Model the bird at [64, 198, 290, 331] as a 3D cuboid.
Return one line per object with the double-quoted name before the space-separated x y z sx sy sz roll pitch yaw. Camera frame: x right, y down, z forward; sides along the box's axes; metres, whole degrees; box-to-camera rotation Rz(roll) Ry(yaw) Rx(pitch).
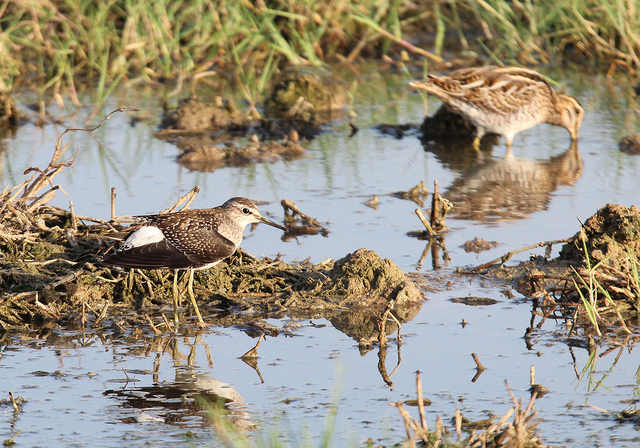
"bird" -1.154 0.317 7.165 1.754 0.909 0.612 -5 13 18
